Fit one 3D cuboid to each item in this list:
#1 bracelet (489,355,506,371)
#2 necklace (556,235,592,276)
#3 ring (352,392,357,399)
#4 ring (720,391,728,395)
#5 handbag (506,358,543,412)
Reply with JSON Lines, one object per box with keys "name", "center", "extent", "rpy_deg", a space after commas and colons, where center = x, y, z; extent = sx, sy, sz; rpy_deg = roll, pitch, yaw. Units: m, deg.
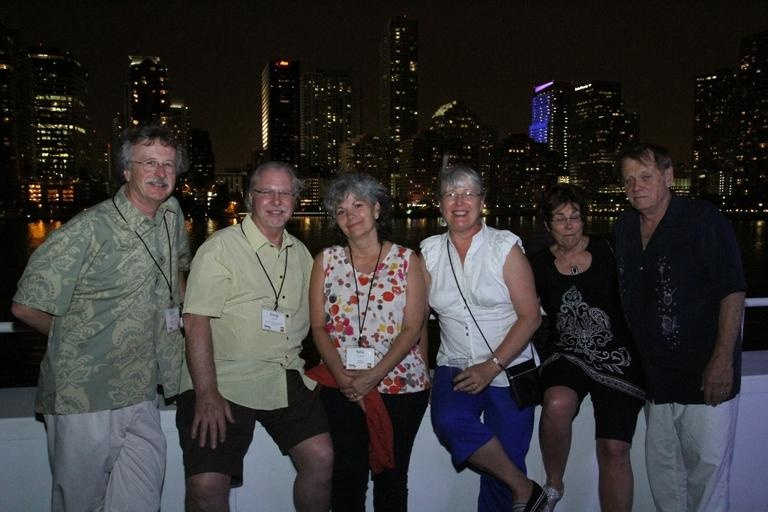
{"name": "bracelet", "center": [0.735, 0.689, 3.998], "extent": [0.087, 0.102, 0.031], "rpy_deg": [33, 50, 32]}
{"name": "necklace", "center": [1.323, -0.012, 4.276], "extent": [0.206, 0.268, 0.090], "rpy_deg": [2, 4, 18]}
{"name": "ring", "center": [-0.188, 0.894, 3.973], "extent": [0.013, 0.016, 0.052], "rpy_deg": [36, -4, -8]}
{"name": "ring", "center": [2.138, 0.854, 3.863], "extent": [0.024, 0.022, 0.018], "rpy_deg": [-4, -5, -19]}
{"name": "handbag", "center": [0.914, 0.830, 4.005], "extent": [0.273, 0.275, 0.082], "rpy_deg": [-16, -2, -23]}
